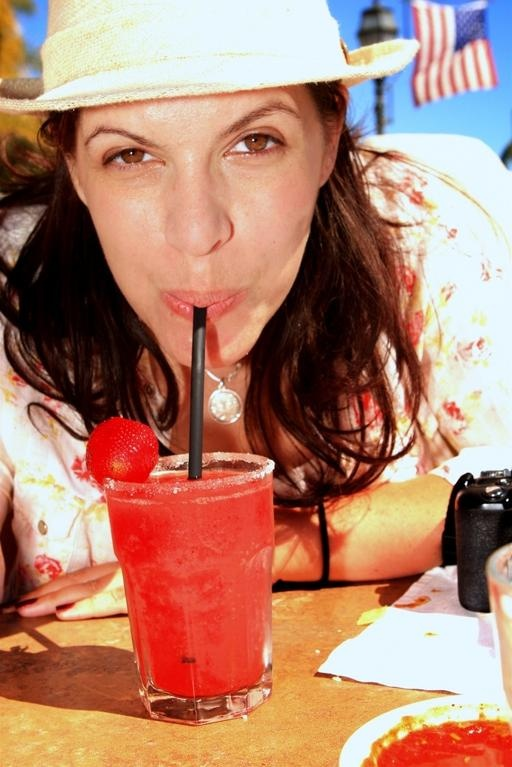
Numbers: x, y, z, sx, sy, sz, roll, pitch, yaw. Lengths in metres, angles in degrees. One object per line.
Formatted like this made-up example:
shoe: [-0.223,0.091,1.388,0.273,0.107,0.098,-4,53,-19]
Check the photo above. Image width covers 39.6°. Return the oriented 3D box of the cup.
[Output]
cup: [-0.075,0.284,1.023,0.226,0.325,0.194,-8,5,-31]

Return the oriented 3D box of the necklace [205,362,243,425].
necklace: [-0.090,0.028,2.020,0.113,0.166,0.031,-4,9,-16]
